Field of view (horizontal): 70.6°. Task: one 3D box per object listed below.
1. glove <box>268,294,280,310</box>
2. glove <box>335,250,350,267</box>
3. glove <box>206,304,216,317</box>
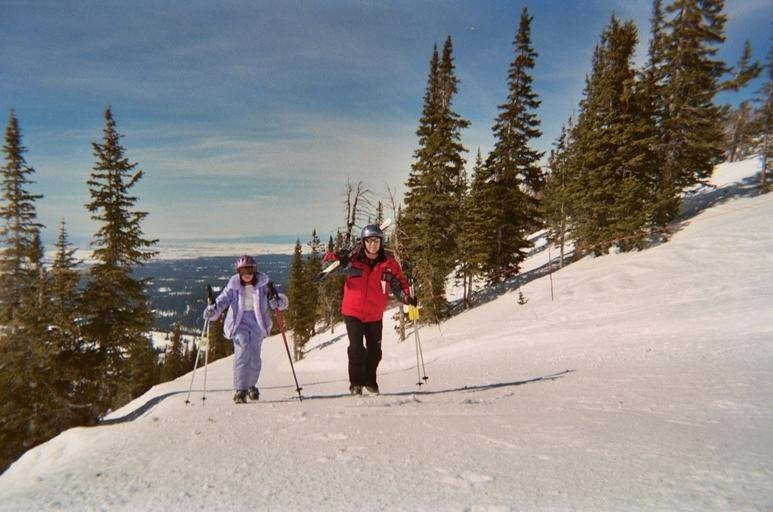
[{"bbox_3d":[-4.377,1.776,21.267,0.455,0.621,0.253,1,-1,3],"label":"glove"},{"bbox_3d":[-1.667,0.091,20.739,0.439,0.579,0.571,1,-21,-4],"label":"glove"},{"bbox_3d":[-6.736,2.101,20.707,0.222,0.485,0.366,8,-14,20],"label":"glove"}]
